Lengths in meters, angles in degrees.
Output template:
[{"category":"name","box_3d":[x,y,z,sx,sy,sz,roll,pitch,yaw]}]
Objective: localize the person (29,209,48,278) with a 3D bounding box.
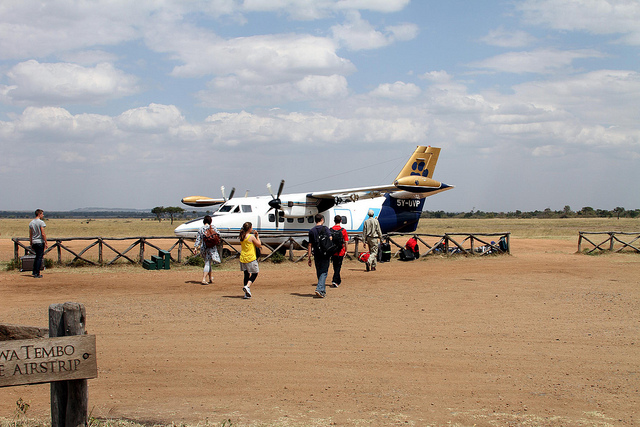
[{"category":"person","box_3d":[-9.913,1.069,31.777,0.531,2.459,1.471,-2,6,-18]}]

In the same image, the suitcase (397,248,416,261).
[{"category":"suitcase","box_3d":[3.644,1.769,38.456,0.660,0.466,0.902,9,-8,-4]}]

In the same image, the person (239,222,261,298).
[{"category":"person","box_3d":[-2.198,1.488,28.492,0.609,2.369,0.717,0,6,-4]}]

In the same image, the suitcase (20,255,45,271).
[{"category":"suitcase","box_3d":[-10.630,1.823,33.363,0.768,0.418,0.726,0,-1,-3]}]

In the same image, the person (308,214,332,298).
[{"category":"person","box_3d":[-0.005,1.350,28.842,0.708,2.547,1.361,0,6,1]}]

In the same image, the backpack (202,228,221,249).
[{"category":"backpack","box_3d":[-3.738,0.883,30.863,0.554,0.688,0.337,-1,6,-8]}]

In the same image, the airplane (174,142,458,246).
[{"category":"airplane","box_3d":[0.548,-0.613,39.651,12.250,4.174,5.579,-4,7,-35]}]

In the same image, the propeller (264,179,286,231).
[{"category":"propeller","box_3d":[-1.869,-0.374,39.459,0.778,1.767,2.015,12,-1,-24]}]

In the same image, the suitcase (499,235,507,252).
[{"category":"suitcase","box_3d":[8.378,1.438,41.234,0.389,0.641,0.143,-7,-13,38]}]

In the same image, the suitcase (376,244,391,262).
[{"category":"suitcase","box_3d":[2.752,1.678,37.873,0.712,0.975,0.700,1,1,7]}]

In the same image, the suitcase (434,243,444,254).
[{"category":"suitcase","box_3d":[5.223,1.592,40.015,0.334,0.466,0.324,12,-11,-12]}]

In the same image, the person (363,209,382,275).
[{"category":"person","box_3d":[1.946,1.065,33.977,0.662,2.326,1.296,0,6,2]}]
